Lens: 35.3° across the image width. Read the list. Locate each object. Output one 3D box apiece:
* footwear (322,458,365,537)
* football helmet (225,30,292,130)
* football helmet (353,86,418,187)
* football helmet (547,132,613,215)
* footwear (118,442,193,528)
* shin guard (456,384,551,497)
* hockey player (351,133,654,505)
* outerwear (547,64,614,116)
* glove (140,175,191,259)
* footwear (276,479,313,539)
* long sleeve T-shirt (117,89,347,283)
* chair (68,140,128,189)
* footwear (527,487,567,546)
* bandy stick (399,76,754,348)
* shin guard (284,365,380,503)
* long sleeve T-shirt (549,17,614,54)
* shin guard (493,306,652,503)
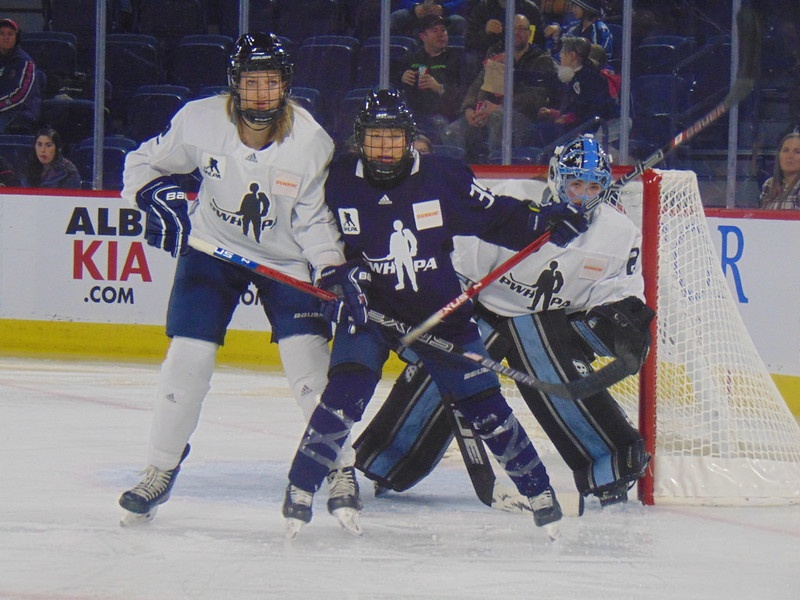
[{"bbox_3d":[-0.213,0.778,4.849,0.097,0.130,0.305,-26,22,5],"label":"footwear"},{"bbox_3d":[-0.584,-0.855,4.842,0.291,0.342,0.354,-4,33,-7],"label":"football helmet"},{"bbox_3d":[-0.052,-0.644,4.831,0.247,0.304,0.331,2,14,1],"label":"football helmet"},{"bbox_3d":[0.729,-0.544,5.201,0.264,0.286,0.324,3,26,-2],"label":"football helmet"},{"bbox_3d":[-0.957,0.747,4.892,0.126,0.391,0.170,30,-24,-7],"label":"footwear"},{"bbox_3d":[0.362,0.438,5.065,0.285,0.255,0.842,-7,26,-3],"label":"shin guard"},{"bbox_3d":[0.412,0.115,5.049,1.649,1.694,1.044,1,7,-7],"label":"hockey player"},{"bbox_3d":[1.012,-1.196,7.202,0.388,0.347,0.262,1,-3,4],"label":"outerwear"},{"bbox_3d":[-0.918,-0.319,4.893,0.215,0.296,0.124,-4,0,-2],"label":"glove"},{"bbox_3d":[-0.397,0.798,4.744,0.092,0.220,0.096,13,-35,-16],"label":"footwear"},{"bbox_3d":[-0.703,-0.432,5.176,1.116,0.668,0.553,15,44,-4],"label":"long sleeve T-shirt"},{"bbox_3d":[-1.764,-0.789,7.374,0.330,0.382,0.148,3,-5,-8],"label":"chair"},{"bbox_3d":[0.560,0.823,4.860,0.087,0.106,0.242,-19,49,1],"label":"footwear"},{"bbox_3d":[0.846,-0.382,5.673,2.143,0.299,0.170,-40,24,-12],"label":"bandy stick"},{"bbox_3d":[-0.251,0.484,4.800,0.325,0.494,0.140,-11,19,-43],"label":"shin guard"},{"bbox_3d":[1.077,-1.531,7.195,0.257,0.232,0.100,7,-4,14],"label":"long sleeve T-shirt"},{"bbox_3d":[0.716,0.436,5.203,0.496,0.871,0.241,-30,7,26],"label":"shin guard"}]
